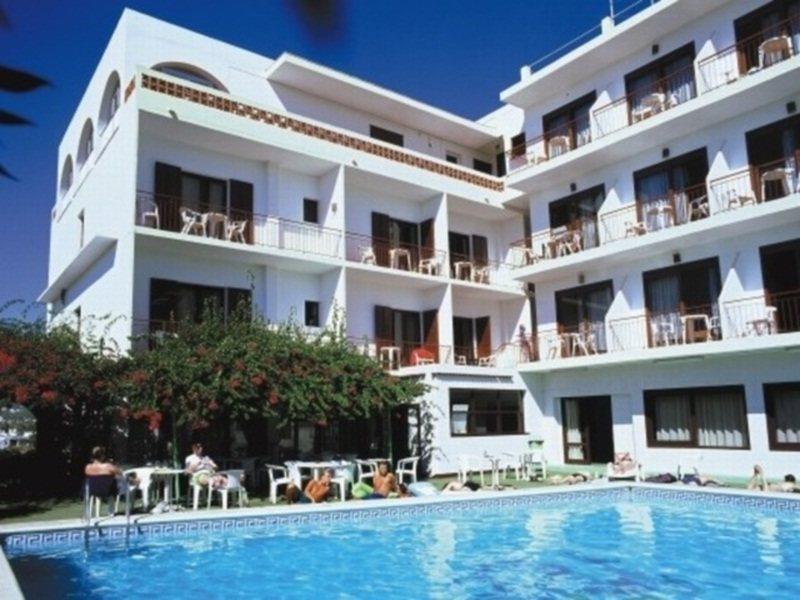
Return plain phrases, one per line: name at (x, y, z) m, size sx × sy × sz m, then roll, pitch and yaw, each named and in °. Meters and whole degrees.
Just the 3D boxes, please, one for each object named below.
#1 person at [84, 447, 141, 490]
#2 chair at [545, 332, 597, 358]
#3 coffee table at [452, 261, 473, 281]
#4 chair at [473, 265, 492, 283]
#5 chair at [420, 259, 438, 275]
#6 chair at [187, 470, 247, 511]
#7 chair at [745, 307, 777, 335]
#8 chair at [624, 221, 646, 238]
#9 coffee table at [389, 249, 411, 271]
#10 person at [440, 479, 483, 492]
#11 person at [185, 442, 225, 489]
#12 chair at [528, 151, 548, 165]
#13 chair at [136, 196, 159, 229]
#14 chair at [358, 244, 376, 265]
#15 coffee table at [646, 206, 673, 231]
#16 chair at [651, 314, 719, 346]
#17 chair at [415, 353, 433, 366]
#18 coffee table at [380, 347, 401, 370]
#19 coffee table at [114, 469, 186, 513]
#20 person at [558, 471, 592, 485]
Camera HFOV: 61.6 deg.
person at (-4.959, 2.939, 11.723) m, size 0.610 × 0.786 × 1.404 m, roll -6°, pitch -12°, yaw -6°
chair at (5.700, 1.519, 22.163) m, size 0.987 × 0.766 × 1.052 m, roll -1°, pitch -3°, yaw -19°
coffee table at (2.449, -1.119, 25.593) m, size 0.548 × 0.924 × 0.805 m, roll 7°, pitch -16°, yaw -32°
chair at (3.169, -0.975, 25.948) m, size 0.523 × 0.780 × 0.741 m, roll -5°, pitch -10°, yaw 35°
chair at (0.977, -1.206, 24.402) m, size 0.508 × 0.704 × 0.574 m, roll 5°, pitch -15°, yaw -25°
chair at (-3.499, 3.693, 13.201) m, size 1.008 × 0.930 × 1.110 m, roll 15°, pitch -25°, yaw -43°
chair at (9.207, 0.472, 17.108) m, size 0.723 × 0.794 × 0.714 m, roll 4°, pitch -3°, yaw -36°
chair at (7.221, -2.176, 20.658) m, size 0.528 × 0.538 × 0.443 m, roll -2°, pitch -4°, yaw -10°
coffee table at (-0.009, -1.456, 24.034) m, size 0.710 × 0.774 × 0.779 m, roll 1°, pitch -13°, yaw -14°
person at (1.482, 4.352, 15.763) m, size 0.810 × 0.251 × 1.580 m, roll -10°, pitch -13°, yaw 9°
person at (-3.733, 3.248, 13.105) m, size 1.130 × 0.727 × 0.551 m, roll 5°, pitch 2°, yaw 43°
chair at (5.014, -5.162, 24.391) m, size 0.471 × 0.317 × 0.699 m, roll 0°, pitch -4°, yaw -9°
chair at (-6.852, -2.419, 18.232) m, size 0.589 × 1.085 × 0.917 m, roll -2°, pitch -12°, yaw -21°
chair at (-1.114, -1.483, 22.491) m, size 0.552 × 0.887 × 0.576 m, roll -1°, pitch 4°, yaw -17°
coffee table at (7.682, -2.548, 20.271) m, size 0.706 × 0.868 × 0.767 m, roll 0°, pitch -3°, yaw -14°
chair at (8.066, 0.817, 19.354) m, size 0.879 × 0.483 × 1.190 m, roll 11°, pitch -16°, yaw -37°
chair at (0.748, 1.924, 21.823) m, size 0.717 × 0.448 × 0.478 m, roll 2°, pitch -15°, yaw -37°
coffee table at (-0.321, 1.891, 22.133) m, size 0.646 × 0.982 × 1.425 m, roll -6°, pitch -12°, yaw -2°
coffee table at (-4.834, 3.673, 12.899) m, size 1.145 × 0.631 × 1.159 m, roll -4°, pitch -13°, yaw 14°
person at (4.229, 4.379, 16.379) m, size 0.702 × 0.205 × 1.245 m, roll -13°, pitch -14°, yaw 23°
